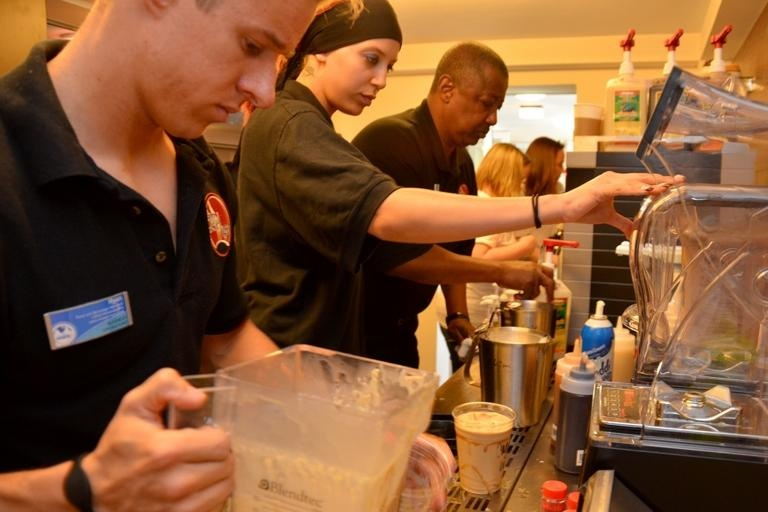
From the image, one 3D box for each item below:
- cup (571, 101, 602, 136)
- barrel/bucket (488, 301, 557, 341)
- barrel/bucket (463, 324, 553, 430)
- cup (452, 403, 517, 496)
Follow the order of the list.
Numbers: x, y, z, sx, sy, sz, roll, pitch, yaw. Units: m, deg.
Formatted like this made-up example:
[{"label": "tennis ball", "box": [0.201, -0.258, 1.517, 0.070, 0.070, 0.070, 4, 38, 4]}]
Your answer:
[{"label": "cup", "box": [0.967, -0.646, 2.652, 0.163, 0.127, 0.162, 1, 11, 0]}, {"label": "barrel/bucket", "box": [0.503, 0.242, 1.966, 0.215, 0.154, 0.137, 3, 12, 18]}, {"label": "barrel/bucket", "box": [0.367, 0.377, 1.703, 0.261, 0.244, 0.210, 2, -1, 16]}, {"label": "cup", "box": [0.235, 0.470, 1.339, 0.146, 0.164, 0.148, 3, -5, 0]}]
